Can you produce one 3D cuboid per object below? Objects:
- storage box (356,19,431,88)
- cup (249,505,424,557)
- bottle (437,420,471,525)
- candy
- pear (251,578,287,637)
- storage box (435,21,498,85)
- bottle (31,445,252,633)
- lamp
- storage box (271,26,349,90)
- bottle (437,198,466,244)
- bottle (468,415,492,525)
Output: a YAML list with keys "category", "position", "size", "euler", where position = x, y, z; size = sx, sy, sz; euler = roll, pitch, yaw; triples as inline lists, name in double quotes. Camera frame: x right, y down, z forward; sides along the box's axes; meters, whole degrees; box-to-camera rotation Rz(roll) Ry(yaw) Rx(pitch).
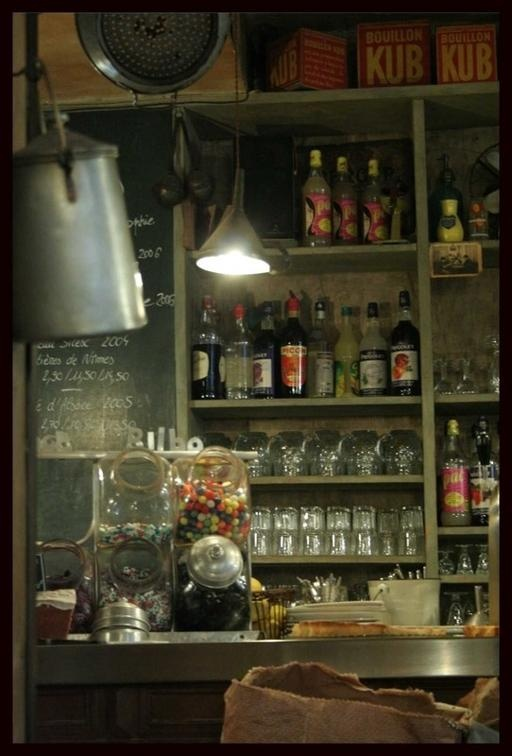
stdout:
- category: "storage box"
  position: [0.459, -1.095, 2.768]
  size: [0.245, 0.125, 0.217]
  euler: [-1, -46, 6]
- category: "cup"
  position: [0.257, 0.473, 2.599]
  size: [0.522, 0.138, 0.250]
  euler: [-1, -4, 6]
- category: "bottle"
  position: [0.620, 0.310, 2.591]
  size: [0.091, 0.290, 0.120]
  euler: [-1, -5, 12]
- category: "candy"
  position: [-0.071, 0.218, 1.359]
  size: [0.101, 0.092, 0.101]
  euler: [4, -12, -14]
- category: "pear"
  position: [0.013, 0.410, 1.477]
  size: [0.079, 0.084, 0.078]
  euler: [3, -8, -29]
- category: "storage box"
  position: [0.714, -1.109, 2.768]
  size: [0.228, 0.215, 0.185]
  euler: [15, -39, 27]
- category: "bottle"
  position: [-0.130, 0.264, 1.405]
  size: [0.318, 0.289, 0.225]
  euler: [-2, -5, 22]
- category: "lamp"
  position: [-0.074, -0.754, 2.530]
  size: [0.225, 0.933, 0.707]
  euler: [0, -4, -4]
- category: "storage box"
  position: [0.173, -1.056, 2.824]
  size: [0.270, 0.161, 0.270]
  euler: [6, 12, 36]
- category: "bottle"
  position: [0.617, -0.496, 2.651]
  size: [0.076, 0.142, 0.059]
  euler: [-1, -5, 11]
- category: "bottle"
  position: [0.689, 0.282, 2.519]
  size: [0.079, 0.325, 0.453]
  euler: [-1, -4, 16]
